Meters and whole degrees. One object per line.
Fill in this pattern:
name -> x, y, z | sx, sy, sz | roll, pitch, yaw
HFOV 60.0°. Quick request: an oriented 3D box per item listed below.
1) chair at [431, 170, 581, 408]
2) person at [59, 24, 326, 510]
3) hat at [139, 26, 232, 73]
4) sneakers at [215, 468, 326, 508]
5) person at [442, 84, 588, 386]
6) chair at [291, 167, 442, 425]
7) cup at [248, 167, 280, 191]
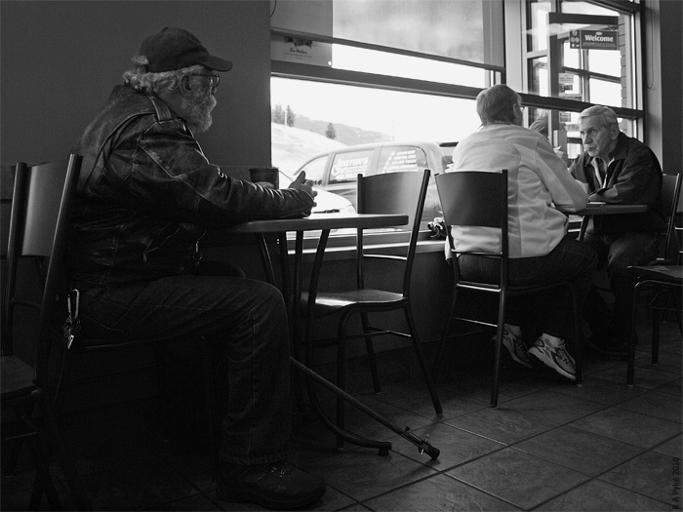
chair -> 0.871, 0.117, 3.243 | 0.630, 1.168, 0.545 | -6, 11, -35
person -> -0.509, 0.137, 2.130 | 0.872, 1.470, 0.306 | 1, 9, 4
hat -> -0.592, -0.774, 2.217 | 0.285, 0.126, 0.187 | -8, 25, -16
sneakers -> -0.266, 0.792, 2.096 | 0.315, 0.211, 0.168 | -2, -7, 4
person -> 1.079, -0.134, 3.498 | 0.890, 1.713, 0.760 | 3, -8, -42
chair -> 0.320, 0.186, 2.878 | 0.755, 1.115, 0.752 | 7, 9, -19
cup -> -0.312, -0.296, 2.296 | 0.099, 0.102, 0.099 | 2, 2, 0
